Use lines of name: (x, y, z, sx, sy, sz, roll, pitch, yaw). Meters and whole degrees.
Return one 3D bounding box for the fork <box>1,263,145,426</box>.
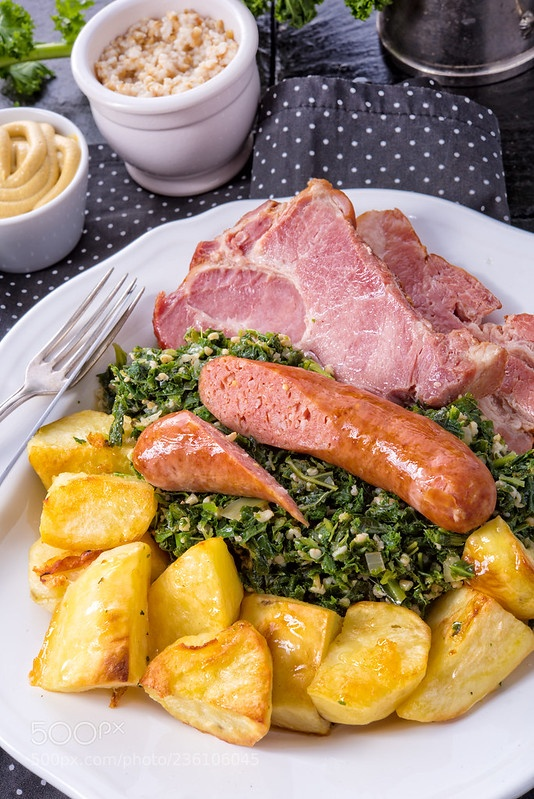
fork: (-0.562, -0.148, 2.181, 0.109, 0.109, 0.753, 37, 66, 14)
